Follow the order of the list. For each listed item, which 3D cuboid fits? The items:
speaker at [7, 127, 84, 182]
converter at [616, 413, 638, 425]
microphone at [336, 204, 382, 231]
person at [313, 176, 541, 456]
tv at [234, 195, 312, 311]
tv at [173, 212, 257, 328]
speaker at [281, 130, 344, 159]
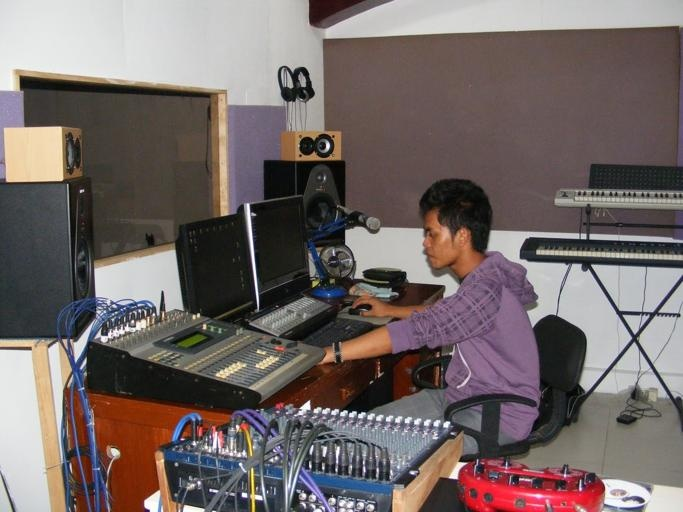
[{"bbox_3d":[-1.071,-0.364,2.182,0.260,0.189,0.256,-5,11,-20],"label":"speaker"},{"bbox_3d":[2.016,1.128,4.305,0.178,0.033,0.106,-9,13,-34],"label":"converter"},{"bbox_3d":[0.135,-0.278,4.284,0.304,0.086,0.108,31,-20,27],"label":"microphone"},{"bbox_3d":[0.639,0.182,3.253,1.113,1.761,0.906,2,3,16],"label":"person"},{"bbox_3d":[-0.354,-0.001,3.153,0.062,0.501,0.510,-6,6,23],"label":"tv"},{"bbox_3d":[-0.573,0.069,2.866,0.084,0.555,0.467,-9,0,27],"label":"tv"},{"bbox_3d":[-0.194,-0.714,3.971,0.402,0.192,0.289,-3,11,-7],"label":"speaker"}]
